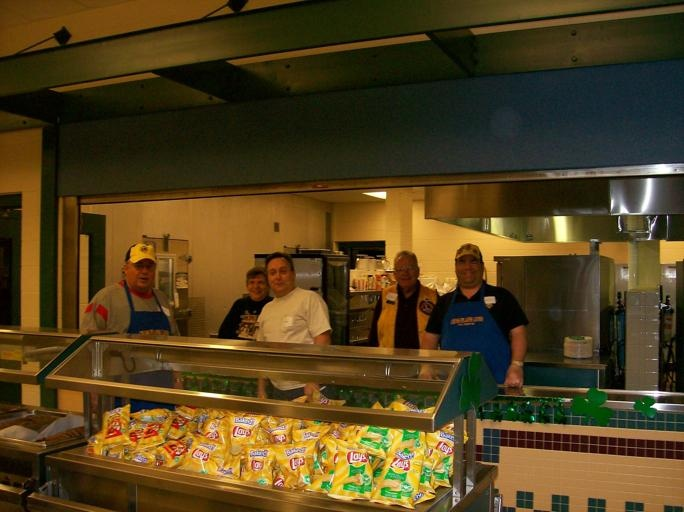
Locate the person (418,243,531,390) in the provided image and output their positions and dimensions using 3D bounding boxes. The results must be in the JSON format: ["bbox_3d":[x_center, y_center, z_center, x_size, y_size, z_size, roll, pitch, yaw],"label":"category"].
[{"bbox_3d":[1.007,0.393,3.939,0.510,0.930,0.827,-5,5,-34],"label":"person"}]

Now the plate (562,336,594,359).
[{"bbox_3d":[2.122,0.817,5.220,0.216,0.132,0.210,1,-1,29],"label":"plate"}]

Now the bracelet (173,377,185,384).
[{"bbox_3d":[-0.724,0.557,2.590,0.036,0.019,0.033,2,-4,-5],"label":"bracelet"}]

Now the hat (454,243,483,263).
[{"bbox_3d":[0.905,-0.035,4.117,0.160,0.100,0.207,-2,-13,19],"label":"hat"}]
